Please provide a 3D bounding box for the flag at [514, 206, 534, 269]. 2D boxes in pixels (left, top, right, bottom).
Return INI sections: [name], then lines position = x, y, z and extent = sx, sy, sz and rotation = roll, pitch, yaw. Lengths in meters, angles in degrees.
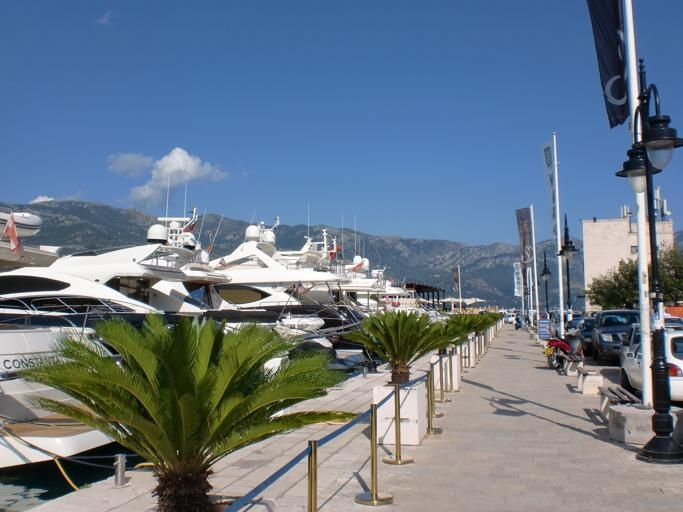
[flag]
position = 11.302, -1.239, 47.914
extent = 0.984, 3.913, 0.064
rotation = -14, -25, 32
